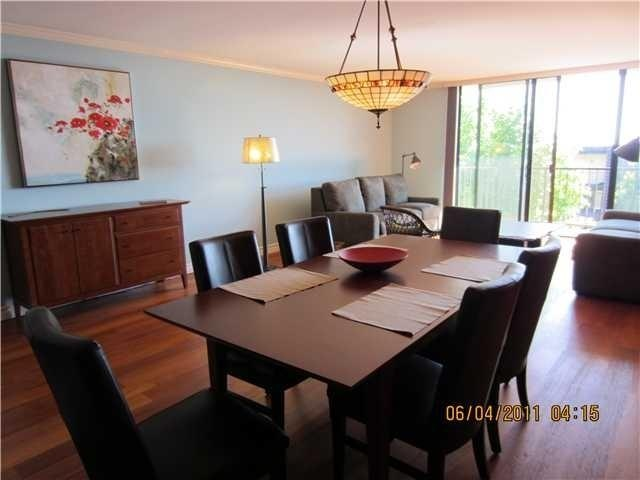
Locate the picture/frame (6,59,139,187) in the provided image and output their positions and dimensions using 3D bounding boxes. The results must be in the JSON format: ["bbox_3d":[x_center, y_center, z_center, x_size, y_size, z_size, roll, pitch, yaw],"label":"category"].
[{"bbox_3d":[-2.340,-1.099,4.178,0.075,1.192,1.175,9,16,41],"label":"picture/frame"}]

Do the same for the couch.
[{"bbox_3d":[0.941,-0.392,6.509,0.992,1.076,2.257,5,13,34],"label":"couch"}]

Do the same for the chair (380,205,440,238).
[{"bbox_3d":[0.975,-0.202,4.869,0.249,0.330,0.743,-13,15,-38],"label":"chair"}]

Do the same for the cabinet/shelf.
[{"bbox_3d":[-2.058,0.088,4.019,0.326,0.601,0.977,10,18,34],"label":"cabinet/shelf"}]
